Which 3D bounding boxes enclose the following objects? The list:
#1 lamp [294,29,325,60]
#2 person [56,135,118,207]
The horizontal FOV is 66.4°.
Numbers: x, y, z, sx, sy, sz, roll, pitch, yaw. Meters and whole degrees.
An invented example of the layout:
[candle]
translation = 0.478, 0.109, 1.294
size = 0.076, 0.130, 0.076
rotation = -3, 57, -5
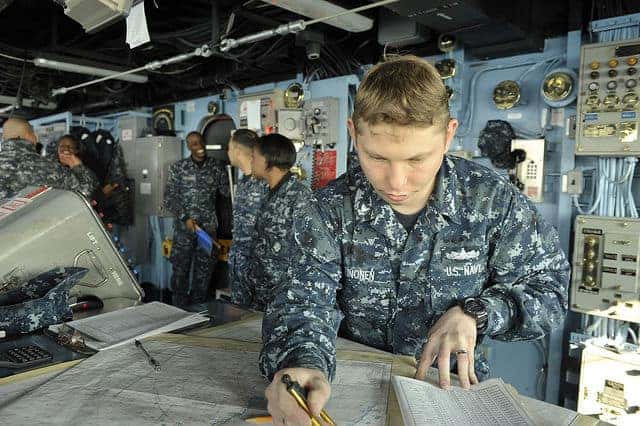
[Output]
[lamp]
translation = -0.116, -1.628, 4.752
size = 0.242, 0.336, 0.253
rotation = -5, 5, -30
[person]
translation = -3.448, -0.604, 6.993
size = 0.646, 0.991, 0.357
rotation = -22, 49, -20
